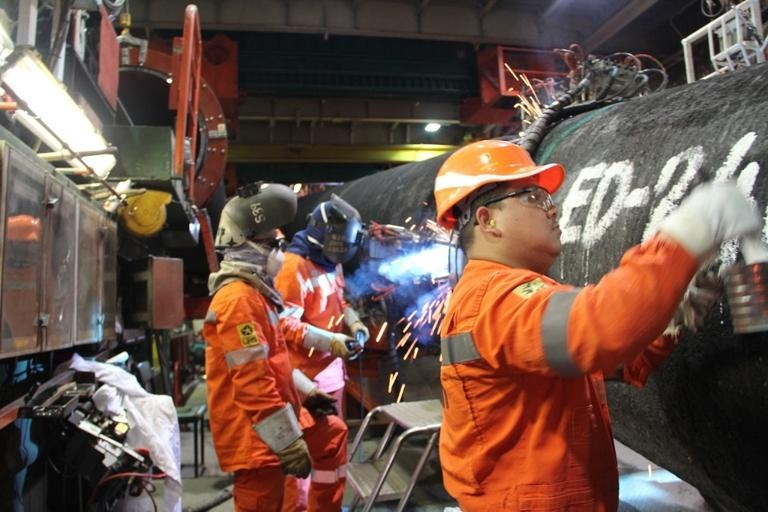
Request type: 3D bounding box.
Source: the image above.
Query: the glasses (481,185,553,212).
[{"bbox_3d":[0.605,-0.246,2.950,0.173,0.050,0.142,-14,-12,21],"label":"glasses"}]

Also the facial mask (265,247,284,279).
[{"bbox_3d":[-0.678,0.032,4.236,0.062,0.154,0.132,11,-7,-7],"label":"facial mask"}]

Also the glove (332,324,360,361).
[{"bbox_3d":[-0.273,0.602,4.644,0.150,0.075,0.202,-16,20,-23],"label":"glove"}]

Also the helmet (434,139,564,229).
[{"bbox_3d":[0.472,-0.391,3.219,0.623,0.313,0.482,-19,-15,12],"label":"helmet"}]

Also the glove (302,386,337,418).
[{"bbox_3d":[-0.418,0.978,4.489,0.181,0.182,0.062,35,23,-14],"label":"glove"}]

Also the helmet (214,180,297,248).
[{"bbox_3d":[-0.844,-0.294,4.428,0.548,0.419,0.375,-6,17,-5],"label":"helmet"}]

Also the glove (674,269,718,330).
[{"bbox_3d":[1.369,0.185,2.955,0.156,0.269,0.106,19,20,26],"label":"glove"}]

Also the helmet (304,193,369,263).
[{"bbox_3d":[-0.360,-0.207,4.981,0.433,0.505,0.423,-6,10,-37],"label":"helmet"}]

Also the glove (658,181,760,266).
[{"bbox_3d":[1.246,-0.126,2.592,0.367,0.323,0.076,-4,-1,-2],"label":"glove"}]
